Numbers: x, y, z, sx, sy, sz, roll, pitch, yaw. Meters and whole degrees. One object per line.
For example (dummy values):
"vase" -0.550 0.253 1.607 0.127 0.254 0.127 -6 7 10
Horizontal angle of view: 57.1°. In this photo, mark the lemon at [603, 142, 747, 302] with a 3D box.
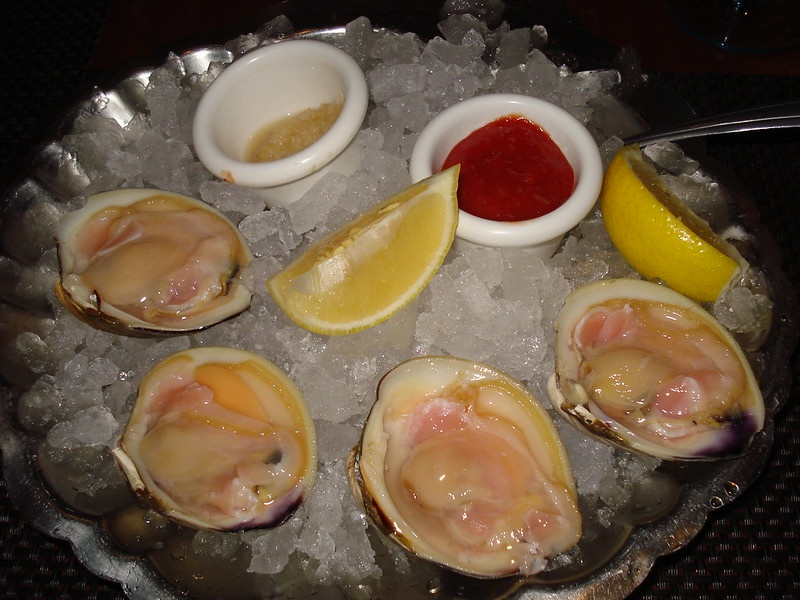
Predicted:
"lemon" 0.750 -0.186 2.180 0.275 0.401 0.450 -46 112 0
